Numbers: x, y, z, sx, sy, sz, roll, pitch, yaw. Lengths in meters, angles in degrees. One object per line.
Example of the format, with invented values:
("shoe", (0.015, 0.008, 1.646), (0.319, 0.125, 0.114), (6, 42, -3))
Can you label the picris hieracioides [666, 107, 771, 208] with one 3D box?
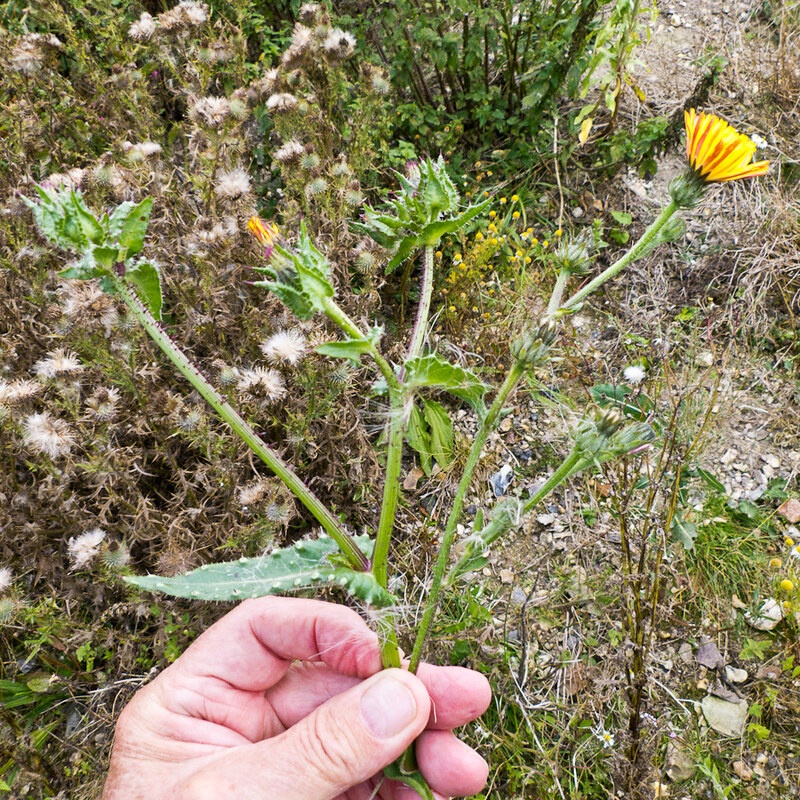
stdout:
("picris hieracioides", (0.856, -0.643, 2.127), (0.247, 0.174, 0.247), (25, 69, 12))

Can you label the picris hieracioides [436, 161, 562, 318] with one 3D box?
("picris hieracioides", (0.440, -0.774, 4.170), (0.739, 0.418, 0.619), (-39, 33, 5))
